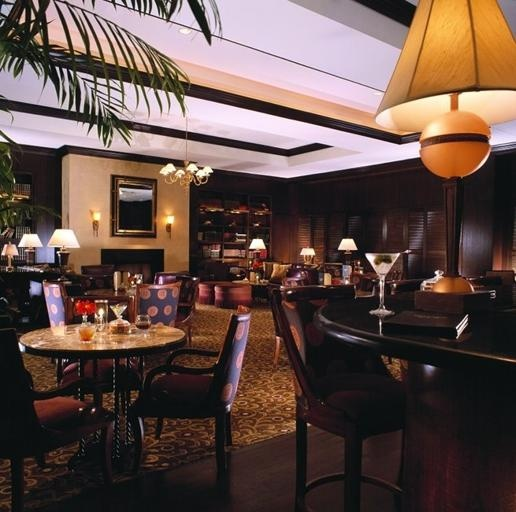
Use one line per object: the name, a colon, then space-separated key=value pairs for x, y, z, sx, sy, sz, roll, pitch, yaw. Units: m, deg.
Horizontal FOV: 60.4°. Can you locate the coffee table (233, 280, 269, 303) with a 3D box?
coffee table: x=0.021 y=0.756 z=9.313 sx=0.760 sy=0.421 sz=0.750 roll=2 pitch=2 yaw=29

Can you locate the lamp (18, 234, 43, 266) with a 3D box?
lamp: x=-3.810 y=-0.116 z=7.455 sx=0.288 sy=0.469 sz=1.295 roll=-2 pitch=4 yaw=-27

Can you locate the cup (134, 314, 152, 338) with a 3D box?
cup: x=-0.705 y=0.443 z=2.744 sx=0.109 sy=0.139 sz=0.113 roll=0 pitch=5 yaw=0

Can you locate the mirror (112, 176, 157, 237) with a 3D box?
mirror: x=-2.593 y=-1.013 z=9.180 sx=1.386 sy=1.538 sz=0.119 roll=-1 pitch=4 yaw=-37

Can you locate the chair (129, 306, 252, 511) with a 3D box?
chair: x=-0.326 y=0.811 z=2.639 sx=0.862 sy=1.089 sz=0.797 roll=2 pitch=-4 yaw=2

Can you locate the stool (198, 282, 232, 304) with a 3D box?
stool: x=-0.995 y=0.763 z=9.090 sx=0.670 sy=0.383 sz=0.643 roll=1 pitch=0 yaw=-9

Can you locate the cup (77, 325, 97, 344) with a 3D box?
cup: x=-0.914 y=0.420 z=2.375 sx=0.092 sy=0.072 sz=0.089 roll=0 pitch=6 yaw=0

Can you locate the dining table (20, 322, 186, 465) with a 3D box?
dining table: x=-0.868 y=0.604 z=2.458 sx=0.866 sy=0.559 sz=0.838 roll=0 pitch=1 yaw=6

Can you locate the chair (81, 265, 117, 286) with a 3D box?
chair: x=-2.410 y=0.308 z=6.704 sx=0.278 sy=0.284 sz=0.232 roll=-1 pitch=2 yaw=-1

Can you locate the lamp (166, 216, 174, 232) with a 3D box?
lamp: x=-1.904 y=-0.674 z=9.748 sx=0.120 sy=0.387 sz=0.215 roll=2 pitch=4 yaw=33

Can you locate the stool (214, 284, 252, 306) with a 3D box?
stool: x=-0.483 y=0.745 z=8.561 sx=0.612 sy=0.347 sz=0.590 roll=-1 pitch=1 yaw=-28

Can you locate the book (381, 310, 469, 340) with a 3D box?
book: x=0.393 y=0.155 z=1.031 sx=0.154 sy=0.033 sz=0.213 roll=2 pitch=4 yaw=32

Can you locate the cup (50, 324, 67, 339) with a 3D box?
cup: x=-1.221 y=0.473 z=2.733 sx=0.093 sy=0.093 sz=0.100 roll=0 pitch=-5 yaw=0

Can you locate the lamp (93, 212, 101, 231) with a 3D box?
lamp: x=-3.141 y=-0.639 z=8.701 sx=0.191 sy=0.383 sz=0.124 roll=-3 pitch=5 yaw=-40
